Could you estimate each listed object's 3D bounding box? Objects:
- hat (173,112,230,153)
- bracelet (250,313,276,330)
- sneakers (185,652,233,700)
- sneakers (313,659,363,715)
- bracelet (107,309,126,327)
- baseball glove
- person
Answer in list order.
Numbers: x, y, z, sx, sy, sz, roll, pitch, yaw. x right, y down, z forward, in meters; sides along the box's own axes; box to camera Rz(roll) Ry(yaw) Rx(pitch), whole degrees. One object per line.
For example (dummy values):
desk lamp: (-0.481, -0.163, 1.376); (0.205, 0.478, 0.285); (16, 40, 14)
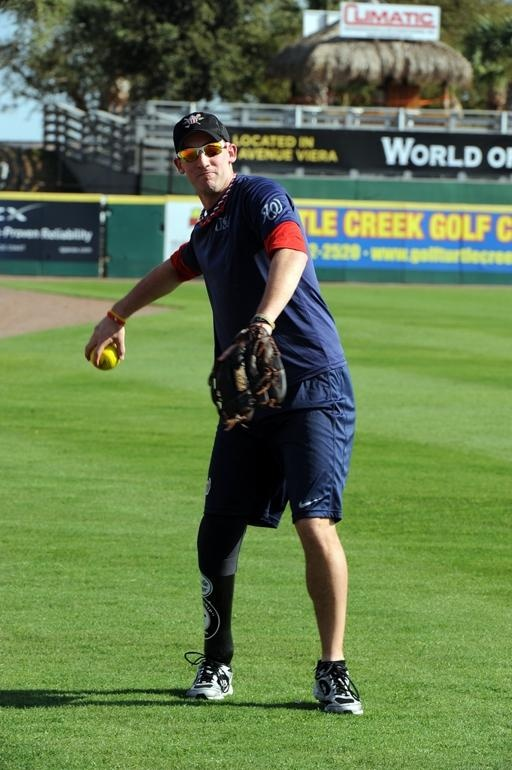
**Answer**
hat: (-0.171, -0.771, 3.932); (0.118, 0.087, 0.158); (-19, -9, 7)
bracelet: (0.019, -0.175, 3.597); (0.050, 0.025, 0.045); (31, -5, 17)
sneakers: (-0.125, 0.872, 3.844); (0.128, 0.104, 0.156); (4, 8, 14)
sneakers: (0.238, 0.882, 3.758); (0.101, 0.123, 0.265); (3, 1, -12)
bracelet: (-0.473, -0.228, 4.285); (0.065, 0.025, 0.054); (39, -1, -32)
baseball glove: (0.014, -0.008, 3.706); (0.226, 0.278, 0.137); (-19, -14, 31)
person: (0.014, 0.037, 3.972); (0.566, 1.736, 0.915); (1, 9, -9)
